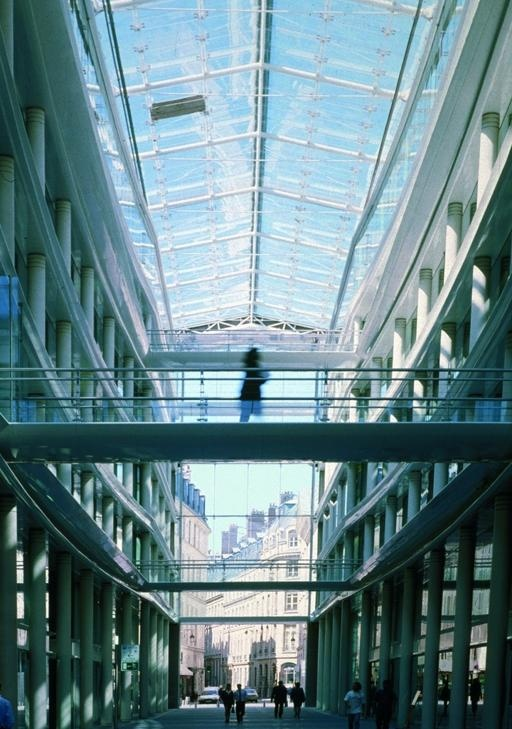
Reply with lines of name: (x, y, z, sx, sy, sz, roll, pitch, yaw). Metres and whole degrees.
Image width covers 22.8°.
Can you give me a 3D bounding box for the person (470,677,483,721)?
person: (4.151, 6.292, 23.938, 0.226, 0.749, 1.080, -2, -23, 9)
